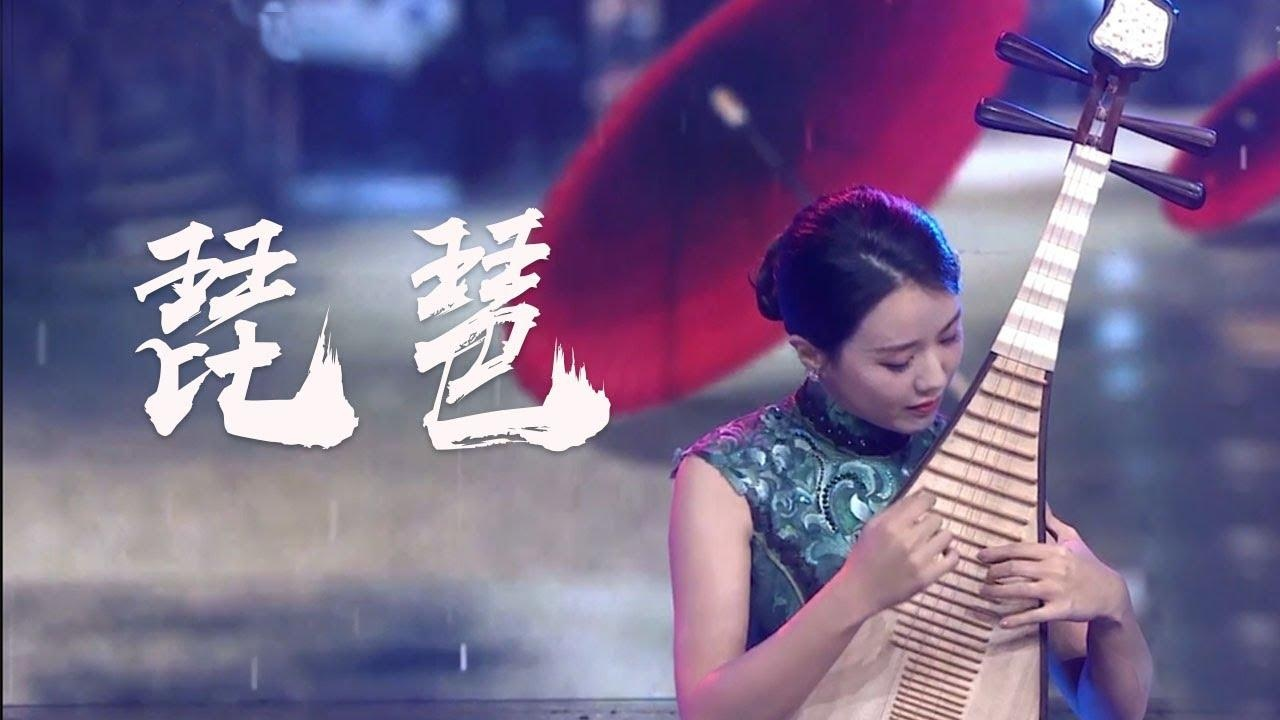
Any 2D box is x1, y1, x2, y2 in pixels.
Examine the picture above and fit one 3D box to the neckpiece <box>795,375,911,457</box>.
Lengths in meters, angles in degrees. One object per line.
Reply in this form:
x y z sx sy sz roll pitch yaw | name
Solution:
0.702 0.221 6.989 0.285 0.070 0.283 14 73 6 | neckpiece
